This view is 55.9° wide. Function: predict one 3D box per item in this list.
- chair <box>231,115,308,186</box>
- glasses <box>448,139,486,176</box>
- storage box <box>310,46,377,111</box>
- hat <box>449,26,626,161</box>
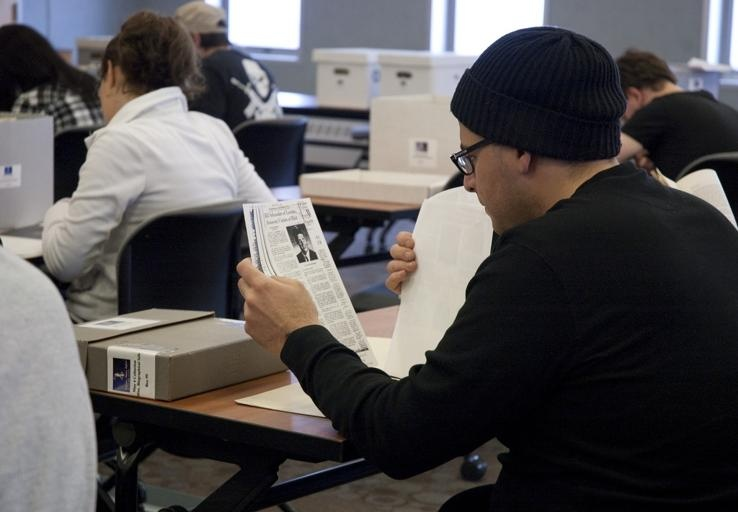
[{"bbox_3d":[-0.482,-0.558,3.684,0.354,0.433,0.383,-13,32,-24],"label":"chair"},{"bbox_3d":[0.155,-0.154,1.105,0.049,0.017,0.048,-27,0,0],"label":"glasses"},{"bbox_3d":[-0.118,-1.244,4.894,0.583,0.372,0.585,-5,20,-23],"label":"storage box"},{"bbox_3d":[0.273,-0.284,1.134,0.282,0.172,0.275,22,31,24],"label":"hat"}]
